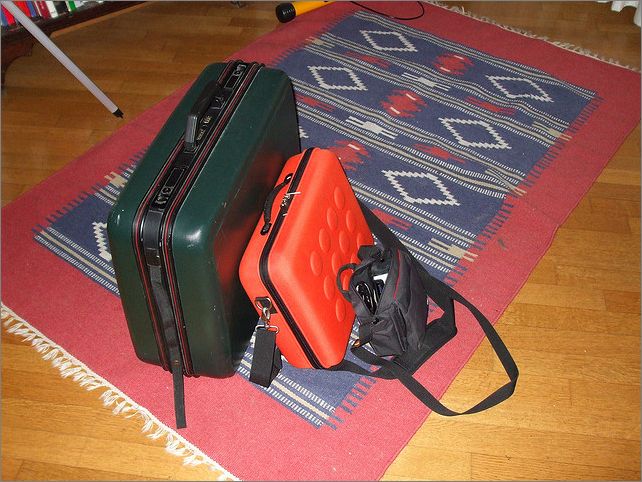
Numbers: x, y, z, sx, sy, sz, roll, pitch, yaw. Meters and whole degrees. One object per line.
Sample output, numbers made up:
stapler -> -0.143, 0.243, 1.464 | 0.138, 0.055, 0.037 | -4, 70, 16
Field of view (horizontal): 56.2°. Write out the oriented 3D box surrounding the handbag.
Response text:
handbag -> 0.240, 0.290, 1.807 | 0.552, 0.181, 0.412 | 37, 70, 5

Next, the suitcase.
suitcase -> 0.068, 0.104, 1.702 | 0.220, 0.552, 0.538 | -10, 40, 37
